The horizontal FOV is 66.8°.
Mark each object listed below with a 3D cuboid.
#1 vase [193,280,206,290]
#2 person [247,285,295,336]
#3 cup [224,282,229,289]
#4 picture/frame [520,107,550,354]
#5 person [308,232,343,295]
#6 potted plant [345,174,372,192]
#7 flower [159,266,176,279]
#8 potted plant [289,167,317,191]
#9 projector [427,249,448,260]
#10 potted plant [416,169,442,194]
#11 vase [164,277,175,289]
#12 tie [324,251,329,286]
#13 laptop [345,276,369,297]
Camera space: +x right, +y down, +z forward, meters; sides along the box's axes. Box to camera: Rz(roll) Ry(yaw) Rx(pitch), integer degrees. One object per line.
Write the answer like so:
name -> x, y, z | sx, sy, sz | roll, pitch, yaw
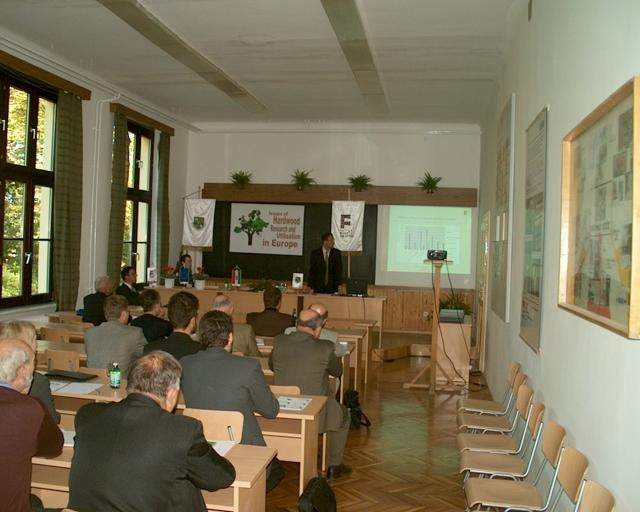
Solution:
vase -> -2.379, 0.563, 9.565 | 0.210, 0.179, 0.176 | -1, -2, 0
person -> -0.618, 0.783, 6.096 | 0.674, 0.788, 0.414 | 2, 6, 2
cup -> -1.934, 0.591, 9.930 | 0.109, 0.152, 0.116 | -1, -8, 0
picture/frame -> 1.892, -0.229, 4.304 | 0.158, 1.497, 1.006 | 2, 1, 22
person -> 0.085, 0.373, 9.470 | 0.641, 1.749, 0.387 | -3, 29, -10
potted plant -> 0.957, -1.707, 11.566 | 0.392, 0.304, 0.422 | 2, 0, 18
flower -> -2.980, 0.328, 9.605 | 0.254, 0.141, 0.268 | -1, -6, 24
potted plant -> -0.406, -1.835, 11.854 | 0.488, 0.367, 0.514 | 0, -3, 10
projector -> 1.722, -0.004, 7.122 | 0.263, 0.145, 0.203 | 2, 1, 7
potted plant -> 2.556, -1.718, 11.399 | 0.494, 0.447, 0.506 | 1, 1, -16
vase -> -2.941, 0.525, 9.480 | 0.200, 0.206, 0.200 | 0, 2, -7
tie -> 0.123, 0.227, 9.327 | 0.127, 0.691, 0.127 | 2, 2, 12
laptop -> 0.690, 0.549, 8.922 | 0.507, 0.480, 0.269 | 1, 5, 20
